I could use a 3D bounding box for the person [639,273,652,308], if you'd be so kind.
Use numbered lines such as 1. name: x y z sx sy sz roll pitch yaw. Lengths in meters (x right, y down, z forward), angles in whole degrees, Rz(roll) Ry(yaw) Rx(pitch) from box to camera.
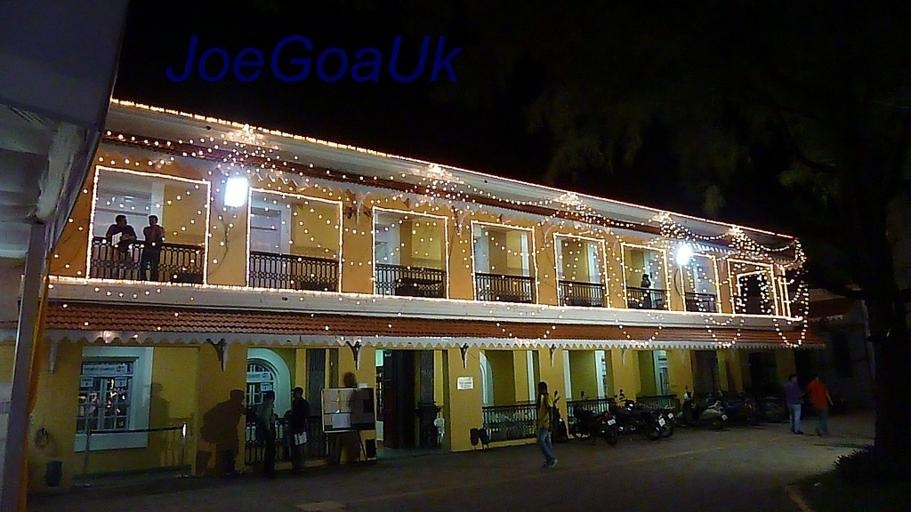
1. person: 9.312 1.776 29.562 0.468 1.610 0.913 -3 -3 15

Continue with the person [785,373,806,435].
1. person: 14.149 6.230 25.332 0.540 2.322 1.272 -3 -3 25

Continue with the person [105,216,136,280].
1. person: -11.507 -0.284 20.669 0.877 2.206 1.214 0 -3 -31

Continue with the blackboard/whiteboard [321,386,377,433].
1. blackboard/whiteboard: -3.655 5.688 22.327 2.164 1.504 1.114 -7 -12 16

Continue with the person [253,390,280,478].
1. person: -6.593 6.130 20.927 0.661 2.686 1.096 -1 -3 -18

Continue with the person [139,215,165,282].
1. person: -10.498 -0.257 20.769 0.735 2.274 0.725 0 -3 -29

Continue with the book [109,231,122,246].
1. book: -11.779 -0.577 20.837 0.447 0.404 0.106 -16 -27 41

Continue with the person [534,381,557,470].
1. person: 3.012 5.723 20.338 0.535 2.796 0.764 -2 -3 8

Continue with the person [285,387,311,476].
1. person: -5.447 6.036 20.929 0.590 2.747 0.599 -1 -3 -24
